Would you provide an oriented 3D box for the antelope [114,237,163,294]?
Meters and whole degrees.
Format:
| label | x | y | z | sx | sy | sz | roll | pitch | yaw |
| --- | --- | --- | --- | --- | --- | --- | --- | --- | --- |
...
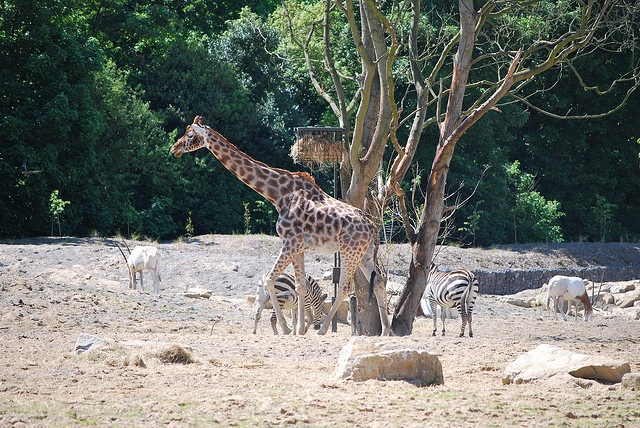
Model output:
| label | x | y | z | sx | sy | sz | roll | pitch | yaw |
| --- | --- | --- | --- | --- | --- | --- | --- | --- | --- |
| antelope | -6.868 | 2.180 | 36.533 | 1.142 | 1.748 | 1.771 | 1 | 1 | -25 |

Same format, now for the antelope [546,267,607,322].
| label | x | y | z | sx | sy | sz | roll | pitch | yaw |
| --- | --- | --- | --- | --- | --- | --- | --- | --- | --- |
| antelope | 9.604 | 3.286 | 36.053 | 2.343 | 1.562 | 0.667 | 9 | -3 | -30 |
